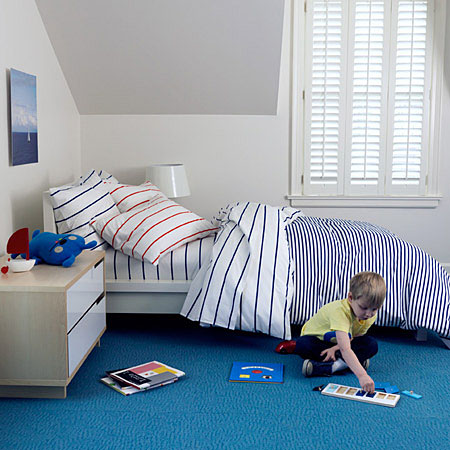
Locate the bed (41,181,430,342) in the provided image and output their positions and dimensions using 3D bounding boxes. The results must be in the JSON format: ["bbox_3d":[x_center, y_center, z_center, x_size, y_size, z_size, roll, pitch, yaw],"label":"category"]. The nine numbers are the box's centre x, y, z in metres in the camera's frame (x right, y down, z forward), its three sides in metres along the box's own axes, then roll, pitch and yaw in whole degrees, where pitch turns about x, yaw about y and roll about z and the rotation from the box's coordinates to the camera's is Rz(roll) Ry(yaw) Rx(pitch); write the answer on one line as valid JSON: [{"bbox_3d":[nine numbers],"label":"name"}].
[{"bbox_3d":[0.071,0.164,2.045,1.593,0.673,0.878,3,8,4],"label":"bed"}]

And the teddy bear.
[{"bbox_3d":[-0.747,0.097,1.662,0.306,0.087,0.266,14,25,14],"label":"teddy bear"}]

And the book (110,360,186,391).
[{"bbox_3d":[-0.314,0.613,1.549,0.135,0.013,0.179,6,7,41],"label":"book"}]

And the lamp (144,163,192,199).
[{"bbox_3d":[-0.450,-0.360,3.098,0.294,0.193,0.294,-1,5,-4],"label":"lamp"}]

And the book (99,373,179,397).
[{"bbox_3d":[-0.330,0.621,1.472,0.144,0.014,0.200,7,3,42],"label":"book"}]

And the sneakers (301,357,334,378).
[{"bbox_3d":[0.372,0.585,1.551,0.160,0.069,0.054,-4,21,-5],"label":"sneakers"}]
